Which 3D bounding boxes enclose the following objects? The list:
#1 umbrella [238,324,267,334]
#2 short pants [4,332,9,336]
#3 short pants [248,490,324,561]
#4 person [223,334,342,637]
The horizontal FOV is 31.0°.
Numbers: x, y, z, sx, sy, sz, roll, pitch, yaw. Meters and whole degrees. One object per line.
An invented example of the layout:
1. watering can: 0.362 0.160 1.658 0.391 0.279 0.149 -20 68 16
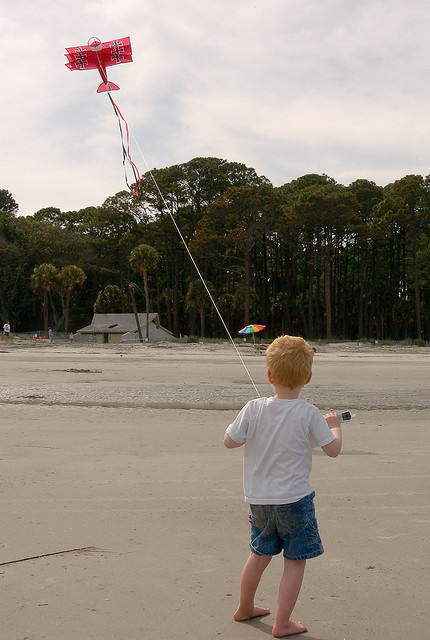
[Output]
1. umbrella: 1.309 0.318 27.886 0.623 0.248 0.639 0 -4 -4
2. short pants: -13.550 0.902 50.486 0.306 0.297 0.551 1 -13 -9
3. short pants: 0.312 0.946 3.659 0.373 0.329 0.219 -5 0 30
4. person: 0.308 0.752 3.662 0.546 1.356 0.375 1 1 7
